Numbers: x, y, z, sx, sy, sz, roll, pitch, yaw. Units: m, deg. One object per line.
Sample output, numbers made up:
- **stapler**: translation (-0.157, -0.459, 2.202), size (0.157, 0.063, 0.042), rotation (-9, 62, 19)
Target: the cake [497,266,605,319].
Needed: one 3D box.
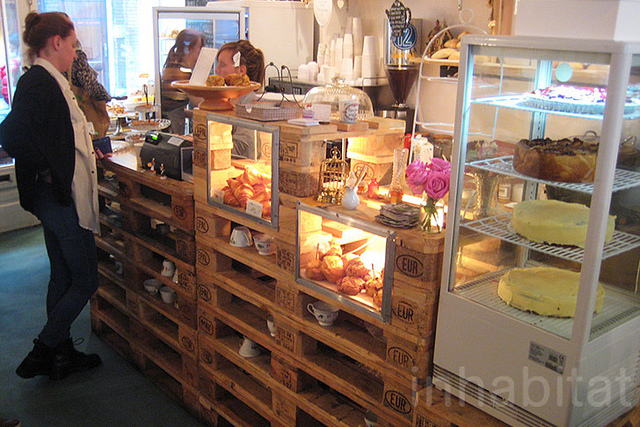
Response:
- **cake**: translation (0.996, 0.350, 2.162), size (0.250, 0.062, 0.245), rotation (-7, 15, -22)

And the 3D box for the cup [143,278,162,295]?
- **cup**: translation (-1.415, 0.619, 4.021), size (0.128, 0.074, 0.125), rotation (3, 5, 0)

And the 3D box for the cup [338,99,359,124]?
- **cup**: translation (0.157, -0.594, 2.793), size (0.156, 0.136, 0.140), rotation (-2, 5, -11)

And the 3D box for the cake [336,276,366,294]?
- **cake**: translation (0.173, 0.396, 2.634), size (0.156, 0.088, 0.064), rotation (1, 16, 3)

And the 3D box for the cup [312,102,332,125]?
- **cup**: translation (0.008, -0.587, 2.773), size (0.128, 0.118, 0.119), rotation (3, 24, -1)

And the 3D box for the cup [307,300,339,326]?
- **cup**: translation (0.025, 0.597, 2.855), size (0.146, 0.098, 0.162), rotation (-9, 19, -31)

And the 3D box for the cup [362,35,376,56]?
- **cup**: translation (0.459, -1.588, 4.494), size (0.164, 0.248, 0.167), rotation (-1, 23, 0)

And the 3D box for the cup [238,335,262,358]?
- **cup**: translation (-0.490, 0.936, 3.348), size (0.153, 0.102, 0.128), rotation (2, 5, 33)

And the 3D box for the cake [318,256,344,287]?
- **cake**: translation (0.072, 0.333, 2.718), size (0.119, 0.154, 0.065), rotation (4, 17, 10)

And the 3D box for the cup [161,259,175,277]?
- **cup**: translation (-1.223, 0.444, 3.828), size (0.101, 0.119, 0.132), rotation (5, -3, 2)

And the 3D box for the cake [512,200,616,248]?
- **cake**: translation (1.025, 0.031, 2.141), size (0.302, 0.148, 0.259), rotation (8, 18, 25)

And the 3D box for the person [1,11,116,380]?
- **person**: translation (-2.108, -0.086, 3.769), size (0.674, 2.860, 0.632), rotation (-7, 18, -23)

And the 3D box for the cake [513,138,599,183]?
- **cake**: translation (1.067, -0.249, 2.103), size (0.370, 0.117, 0.365), rotation (-3, 20, -2)

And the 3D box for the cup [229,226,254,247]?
- **cup**: translation (-0.537, 0.155, 3.262), size (0.117, 0.085, 0.145), rotation (-9, 17, -44)

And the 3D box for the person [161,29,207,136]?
- **person**: translation (-1.634, -1.566, 5.756), size (0.660, 1.242, 0.232), rotation (8, 18, 24)

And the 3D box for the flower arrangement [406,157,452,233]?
- **flower arrangement**: translation (0.521, -0.090, 2.349), size (0.208, 0.355, 0.144), rotation (4, 17, 12)

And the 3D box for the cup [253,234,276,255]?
- **cup**: translation (-0.368, 0.208, 3.165), size (0.172, 0.107, 0.112), rotation (13, 20, 36)

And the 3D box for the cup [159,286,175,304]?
- **cup**: translation (-1.259, 0.664, 3.919), size (0.120, 0.087, 0.122), rotation (2, 6, 0)

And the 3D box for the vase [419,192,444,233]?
- **vase**: translation (0.578, -0.009, 2.368), size (0.158, 0.191, 0.078), rotation (-6, 18, -21)
